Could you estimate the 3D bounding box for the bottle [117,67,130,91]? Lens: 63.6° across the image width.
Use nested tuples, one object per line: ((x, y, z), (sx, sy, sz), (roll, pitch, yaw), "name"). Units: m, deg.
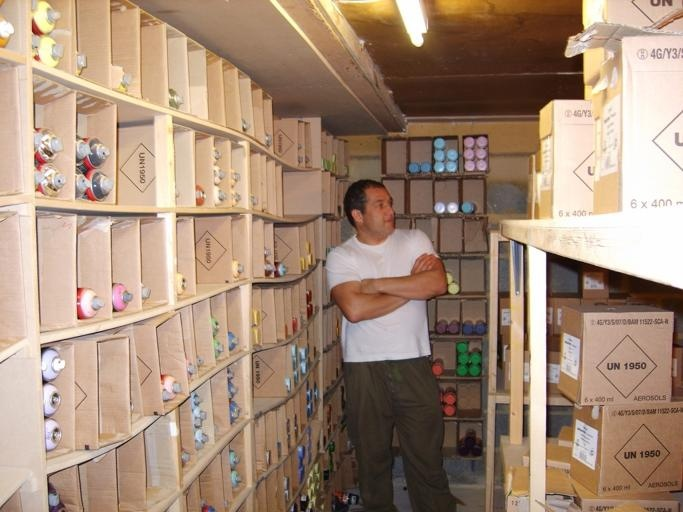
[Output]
((-0.755, -0.621, 1.932), (0.031, 0.093, 0.094), (0, 2, -12), "bottle")
